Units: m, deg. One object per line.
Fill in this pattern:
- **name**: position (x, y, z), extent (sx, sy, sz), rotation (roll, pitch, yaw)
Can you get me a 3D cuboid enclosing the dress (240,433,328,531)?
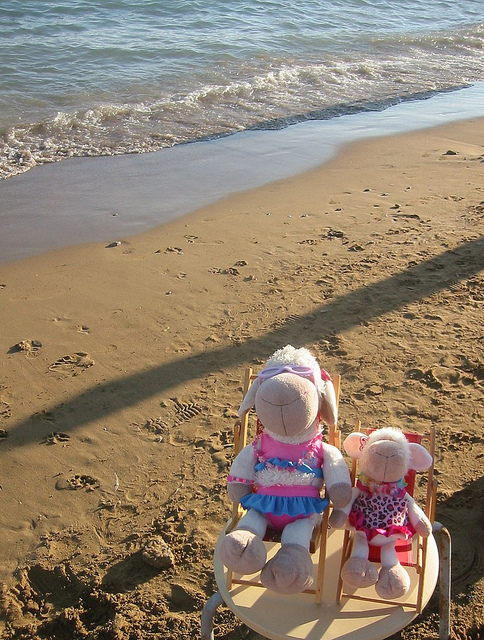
- **dress**: position (0.218, 0.807, 3.463), extent (0.500, 0.529, 0.411), rotation (2, -9, 5)
